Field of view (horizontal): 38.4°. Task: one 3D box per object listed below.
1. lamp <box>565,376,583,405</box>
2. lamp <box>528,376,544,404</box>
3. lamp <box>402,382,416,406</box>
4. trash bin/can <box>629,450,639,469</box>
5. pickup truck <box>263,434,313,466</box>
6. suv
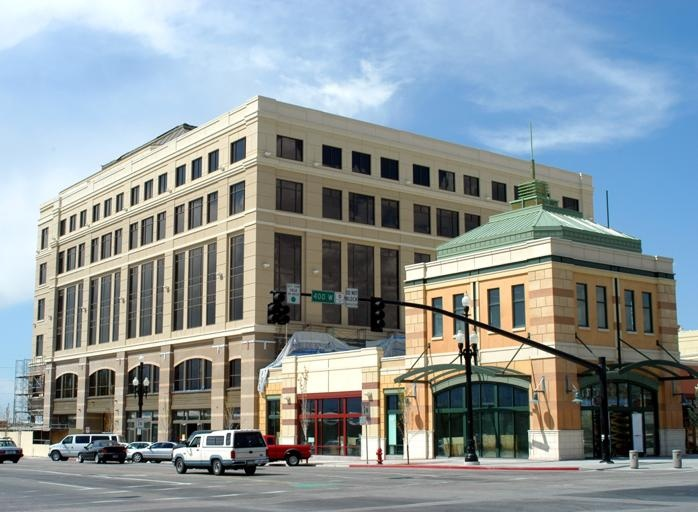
[{"bbox_3d":[14.185,8.465,63.359,1.405,1.721,0.520,16,-25,-40],"label":"lamp"},{"bbox_3d":[11.982,8.530,63.529,0.435,1.694,1.130,13,-23,-34],"label":"lamp"},{"bbox_3d":[4.323,9.583,69.824,0.452,1.453,1.190,15,-24,-37],"label":"lamp"},{"bbox_3d":[15.938,11.360,56.054,0.445,1.012,0.840,-6,-19,14],"label":"trash bin/can"},{"bbox_3d":[-4.014,12.833,65.611,3.298,1.266,1.591,2,-11,-8],"label":"pickup truck"},{"bbox_3d":[-7.273,11.454,57.819,7.334,2.604,2.988,-8,-12,42],"label":"suv"}]
